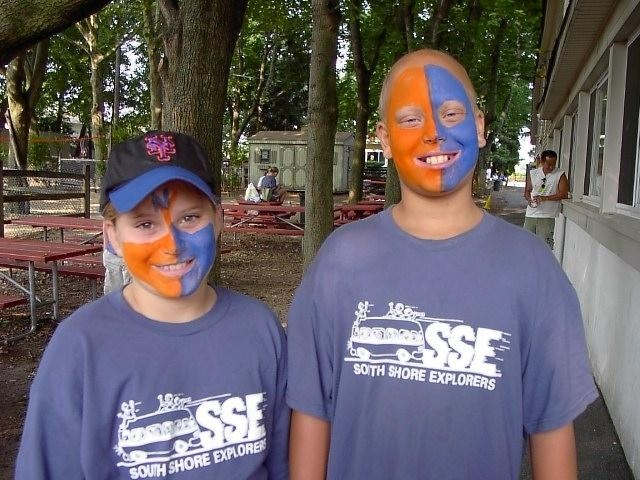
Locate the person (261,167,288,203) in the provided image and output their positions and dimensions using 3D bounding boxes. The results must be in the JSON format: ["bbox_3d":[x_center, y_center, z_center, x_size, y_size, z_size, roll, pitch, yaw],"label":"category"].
[{"bbox_3d":[-1.542,-1.609,18.198,0.647,1.536,0.828,1,7,40],"label":"person"}]

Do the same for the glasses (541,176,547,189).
[{"bbox_3d":[3.804,-0.974,9.329,0.039,0.197,0.161,6,3,7],"label":"glasses"}]

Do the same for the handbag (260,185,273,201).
[{"bbox_3d":[-1.691,-1.426,16.925,0.388,0.580,0.404,11,15,40],"label":"handbag"}]

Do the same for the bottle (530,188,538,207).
[{"bbox_3d":[3.639,-0.719,9.425,0.080,0.263,0.174,2,21,10],"label":"bottle"}]

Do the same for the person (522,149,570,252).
[{"bbox_3d":[3.829,-0.487,9.538,0.568,2.081,0.670,-19,28,-33],"label":"person"}]

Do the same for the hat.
[{"bbox_3d":[-0.699,-0.313,2.386,0.445,0.355,0.564,-9,2,-35],"label":"hat"}]
